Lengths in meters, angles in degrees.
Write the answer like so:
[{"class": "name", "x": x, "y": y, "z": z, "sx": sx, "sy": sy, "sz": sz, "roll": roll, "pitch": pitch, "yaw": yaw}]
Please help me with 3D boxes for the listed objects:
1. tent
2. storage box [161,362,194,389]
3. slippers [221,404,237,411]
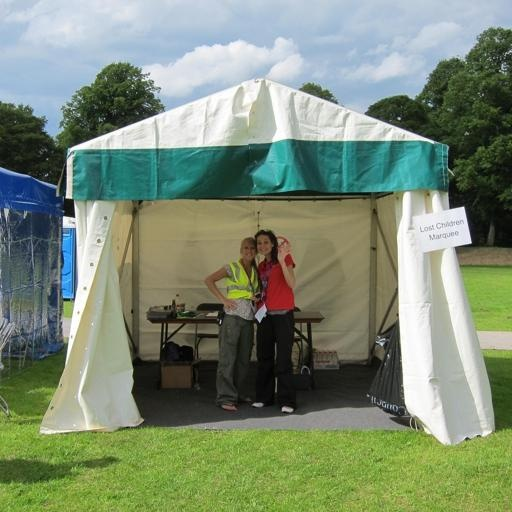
[{"class": "tent", "x": 0.074, "y": -0.423, "z": 7.284, "sx": 3.574, "sy": 3.125, "sz": 3.799, "roll": 0, "pitch": -2, "yaw": 0}, {"class": "storage box", "x": -0.921, "y": 1.396, "z": 7.082, "sx": 0.269, "sy": 0.200, "sz": 0.303, "roll": 0, "pitch": 1, "yaw": -2}, {"class": "slippers", "x": -0.266, "y": 1.526, "z": 6.131, "sx": 0.094, "sy": 0.043, "sz": 0.066, "roll": 1, "pitch": -2, "yaw": 7}]
